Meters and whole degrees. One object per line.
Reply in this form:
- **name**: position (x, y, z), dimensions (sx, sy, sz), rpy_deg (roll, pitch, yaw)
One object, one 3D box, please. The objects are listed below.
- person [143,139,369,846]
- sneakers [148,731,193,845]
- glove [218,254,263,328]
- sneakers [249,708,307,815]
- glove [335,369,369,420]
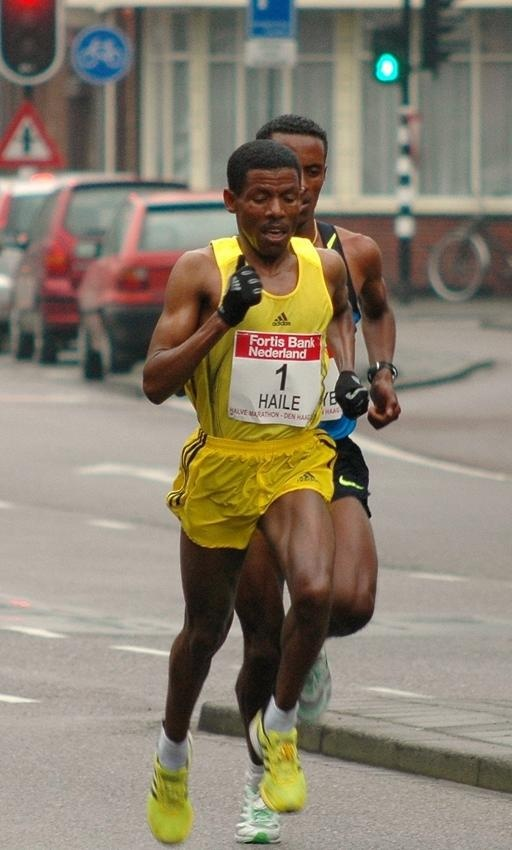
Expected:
- **person**: position (-0.026, 0.168, 2.385), dimensions (0.376, 1.485, 0.538), rpy_deg (1, 12, 3)
- **sneakers**: position (-0.172, 0.761, 2.454), dimensions (0.083, 0.230, 0.102), rpy_deg (0, 5, -2)
- **glove**: position (-0.028, -0.233, 2.097), dimensions (0.072, 0.108, 0.100), rpy_deg (-1, 12, -10)
- **sneakers**: position (0.024, 0.654, 2.334), dimensions (0.085, 0.238, 0.104), rpy_deg (-6, -31, -10)
- **glove**: position (0.206, -0.063, 2.502), dimensions (0.049, 0.098, 0.072), rpy_deg (-23, 20, -20)
